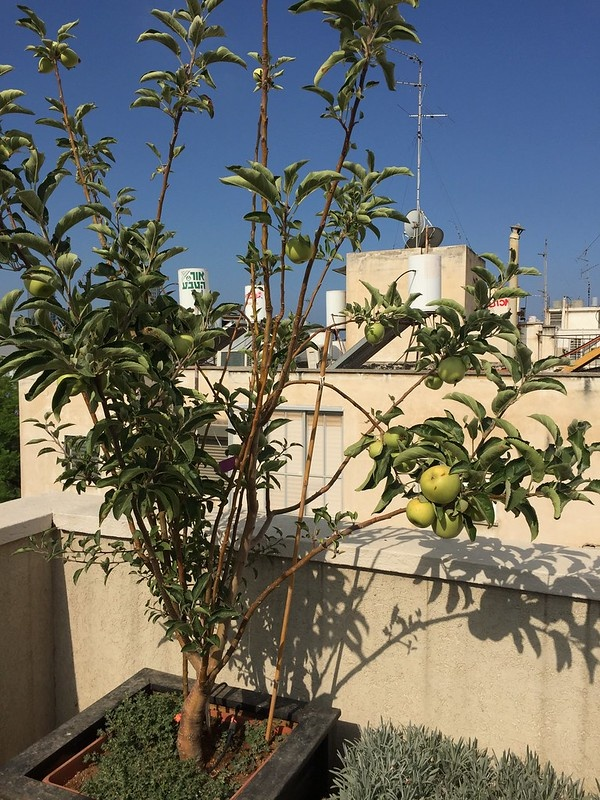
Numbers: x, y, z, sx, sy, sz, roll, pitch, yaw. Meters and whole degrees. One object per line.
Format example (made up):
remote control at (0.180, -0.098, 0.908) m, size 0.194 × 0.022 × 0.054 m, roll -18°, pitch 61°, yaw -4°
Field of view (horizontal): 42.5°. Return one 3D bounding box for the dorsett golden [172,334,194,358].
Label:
dorsett golden at (-0.397, -0.175, 2.614) m, size 0.067 × 0.072 × 0.115 m, roll 1°, pitch -4°, yaw -16°

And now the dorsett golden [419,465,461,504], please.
dorsett golden at (0.420, 0.264, 2.311) m, size 0.119 × 0.122 × 0.120 m, roll -1°, pitch -4°, yaw 12°

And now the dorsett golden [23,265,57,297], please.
dorsett golden at (-0.741, -0.332, 2.209) m, size 0.088 × 0.122 × 0.162 m, roll 1°, pitch -4°, yaw -20°

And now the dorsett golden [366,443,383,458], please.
dorsett golden at (0.259, 0.178, 2.589) m, size 0.054 × 0.058 × 0.050 m, roll 2°, pitch 5°, yaw -12°

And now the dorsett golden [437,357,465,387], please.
dorsett golden at (0.495, -0.091, 2.558) m, size 0.092 × 0.103 × 0.087 m, roll 1°, pitch -23°, yaw 7°

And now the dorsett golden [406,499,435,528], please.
dorsett golden at (0.365, 0.350, 2.397) m, size 0.092 × 0.102 × 0.088 m, roll 5°, pitch 35°, yaw 1°

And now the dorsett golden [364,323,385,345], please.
dorsett golden at (0.250, -0.223, 2.695) m, size 0.072 × 0.077 × 0.069 m, roll -3°, pitch 5°, yaw 1°
